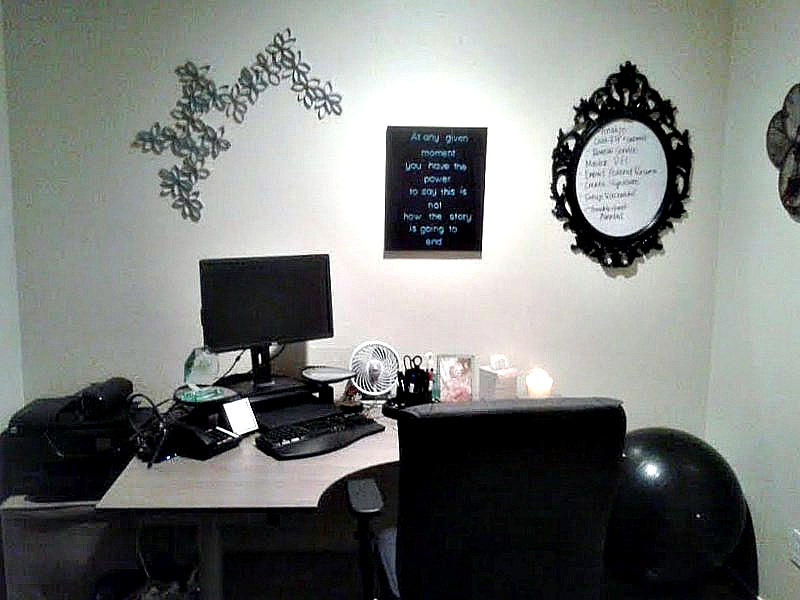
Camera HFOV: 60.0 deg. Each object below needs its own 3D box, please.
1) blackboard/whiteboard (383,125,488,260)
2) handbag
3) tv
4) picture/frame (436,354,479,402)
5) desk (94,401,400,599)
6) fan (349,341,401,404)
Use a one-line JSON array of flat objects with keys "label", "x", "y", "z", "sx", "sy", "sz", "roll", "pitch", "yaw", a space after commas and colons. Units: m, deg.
[{"label": "blackboard/whiteboard", "x": 0.174, "y": -0.628, "z": 3.849, "sx": 0.694, "sy": 0.826, "sz": 0.085, "roll": 0, "pitch": 5, "yaw": -4}, {"label": "handbag", "x": -1.594, "y": 0.559, "z": 3.455, "sx": 0.575, "sy": 0.296, "sz": 0.393, "roll": -1, "pitch": 13, "yaw": -13}, {"label": "tv", "x": -0.720, "y": 0.112, "z": 3.599, "sx": 0.701, "sy": 0.715, "sz": 0.257, "roll": -5, "pitch": 2, "yaw": -32}, {"label": "picture/frame", "x": 0.307, "y": 0.442, "z": 3.871, "sx": 0.234, "sy": 0.324, "sz": 0.032, "roll": 1, "pitch": -8, "yaw": -3}, {"label": "desk", "x": -0.795, "y": 0.966, "z": 3.374, "sx": 1.025, "sy": 0.527, "sz": 0.829, "roll": 1, "pitch": 7, "yaw": -4}, {"label": "fan", "x": -0.148, "y": 0.394, "z": 3.870, "sx": 0.283, "sy": 0.325, "sz": 0.121, "roll": 1, "pitch": 6, "yaw": -5}]
